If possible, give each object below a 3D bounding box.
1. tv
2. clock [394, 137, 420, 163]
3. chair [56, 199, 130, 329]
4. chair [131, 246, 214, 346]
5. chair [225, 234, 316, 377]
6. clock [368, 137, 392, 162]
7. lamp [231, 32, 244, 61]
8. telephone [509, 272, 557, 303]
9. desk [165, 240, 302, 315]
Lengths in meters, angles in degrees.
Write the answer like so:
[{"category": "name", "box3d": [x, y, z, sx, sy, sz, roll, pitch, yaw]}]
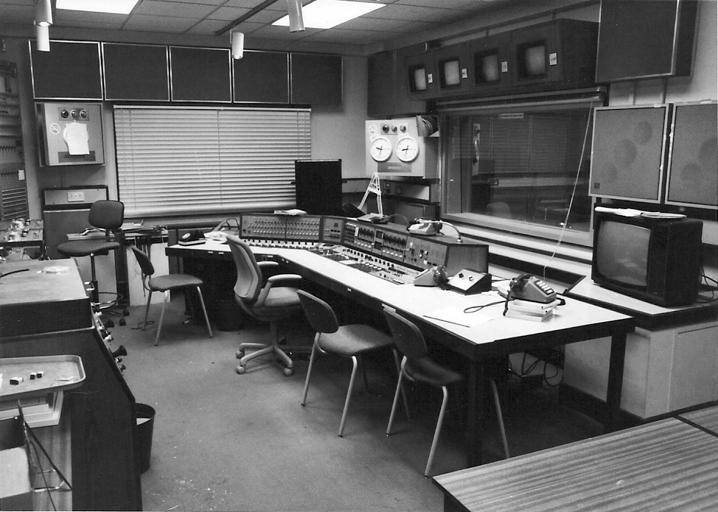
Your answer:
[{"category": "tv", "box3d": [2.033, -0.006, 4.026, 0.435, 0.581, 0.698, -4, 12, -15]}, {"category": "clock", "box3d": [0.550, -1.218, 6.541, 0.268, 0.305, 0.054, 5, 13, 13]}, {"category": "chair", "box3d": [-2.953, 0.059, 6.431, 0.668, 1.311, 0.891, -5, 13, -13]}, {"category": "chair", "box3d": [-1.977, 0.358, 5.980, 0.745, 0.967, 0.600, -4, 14, -31]}, {"category": "chair", "box3d": [-0.779, 0.433, 5.280, 0.831, 1.188, 0.826, -1, 7, -19]}, {"category": "clock", "box3d": [0.249, -1.221, 6.587, 0.259, 0.255, 0.060, 9, 9, 20]}, {"category": "lamp", "box3d": [-1.116, -1.944, 5.239, 0.097, 0.258, 0.409, -4, 13, -9]}, {"category": "telephone", "box3d": [1.133, 0.217, 3.765, 0.214, 0.102, 0.213, 3, 6, 28]}, {"category": "desk", "box3d": [-1.697, 0.226, 6.626, 1.342, 0.853, 1.366, 4, 10, -11]}]
